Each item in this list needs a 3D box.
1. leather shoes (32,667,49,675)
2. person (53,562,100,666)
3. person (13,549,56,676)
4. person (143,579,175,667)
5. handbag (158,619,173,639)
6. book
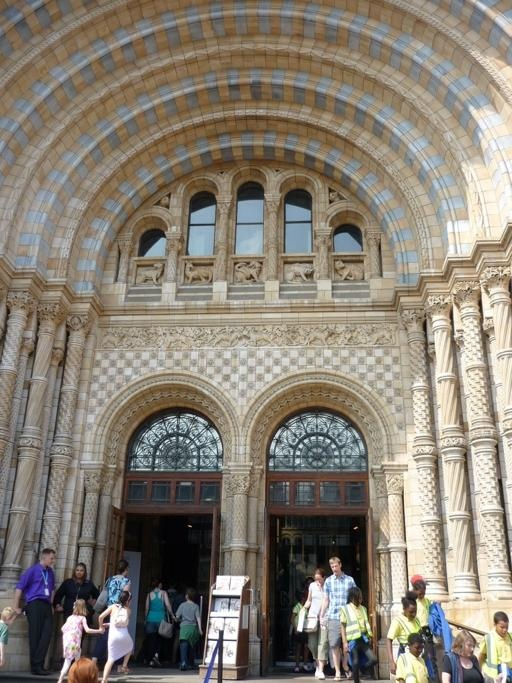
[{"bbox_3d":[-3.491,5.357,8.864,0.297,0.110,0.106,1,-21,7],"label":"leather shoes"},{"bbox_3d":[-3.142,4.741,9.488,0.748,1.588,0.514,15,-33,-26],"label":"person"},{"bbox_3d":[-3.692,4.520,9.157,0.683,1.938,1.326,10,-24,-16],"label":"person"},{"bbox_3d":[-1.984,5.768,11.182,0.593,1.585,0.752,6,-23,-7],"label":"person"},{"bbox_3d":[-1.832,5.861,11.093,0.291,0.309,0.393,6,-23,-8],"label":"handbag"},{"bbox_3d":[-0.484,4.492,8.786,0.560,1.283,0.555,4,-23,-1],"label":"book"}]
